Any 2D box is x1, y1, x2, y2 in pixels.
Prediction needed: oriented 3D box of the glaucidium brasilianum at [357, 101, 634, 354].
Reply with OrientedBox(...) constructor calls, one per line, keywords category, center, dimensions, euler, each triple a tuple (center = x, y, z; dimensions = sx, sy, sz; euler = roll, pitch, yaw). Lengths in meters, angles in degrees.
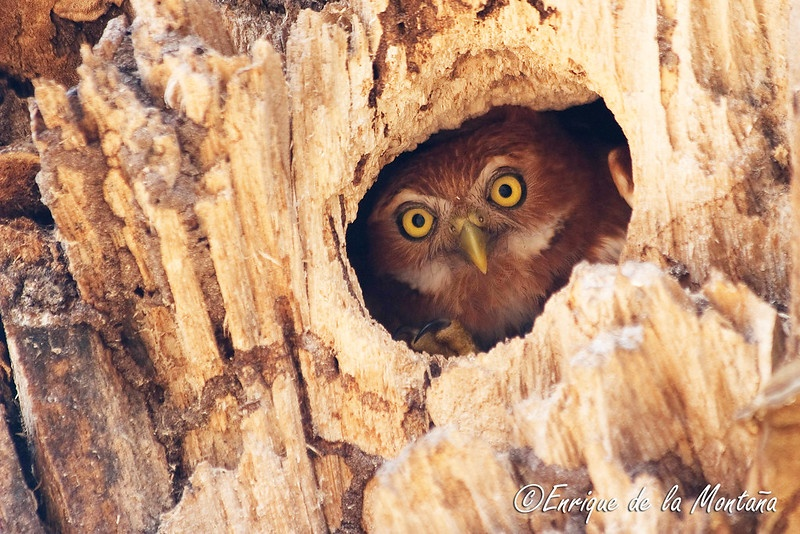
OrientedBox(category="glaucidium brasilianum", center=(0.332, -0.137, 5.602), dimensions=(0.665, 0.757, 0.532), euler=(-34, -75, 26))
